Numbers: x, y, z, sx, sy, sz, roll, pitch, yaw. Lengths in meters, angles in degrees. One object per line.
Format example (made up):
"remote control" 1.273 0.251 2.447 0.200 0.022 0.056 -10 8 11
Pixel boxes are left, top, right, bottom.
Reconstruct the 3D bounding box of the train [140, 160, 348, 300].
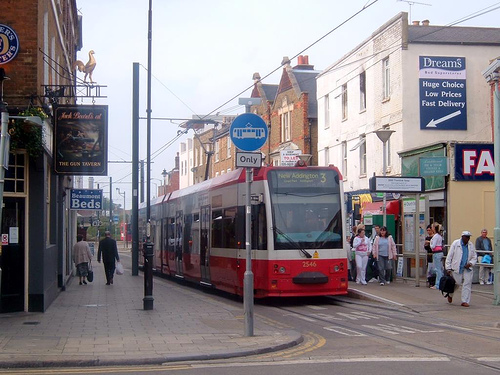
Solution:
"train" -0.553 1.502 22.029 3.315 3.798 14.189 1 -5 -21

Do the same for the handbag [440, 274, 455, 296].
"handbag" 5.350 2.616 18.206 0.377 0.576 0.336 -1 -4 15

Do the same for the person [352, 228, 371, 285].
"person" 3.723 2.259 22.643 0.501 1.844 0.650 -1 -4 12

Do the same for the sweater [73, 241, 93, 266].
"sweater" -6.366 2.473 25.582 0.617 0.925 0.727 1 -4 -15

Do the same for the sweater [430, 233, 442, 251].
"sweater" 5.949 1.683 21.398 0.324 0.489 0.563 2 1 34

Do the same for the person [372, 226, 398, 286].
"person" 4.599 2.246 22.723 0.642 1.936 1.040 -4 -5 43
